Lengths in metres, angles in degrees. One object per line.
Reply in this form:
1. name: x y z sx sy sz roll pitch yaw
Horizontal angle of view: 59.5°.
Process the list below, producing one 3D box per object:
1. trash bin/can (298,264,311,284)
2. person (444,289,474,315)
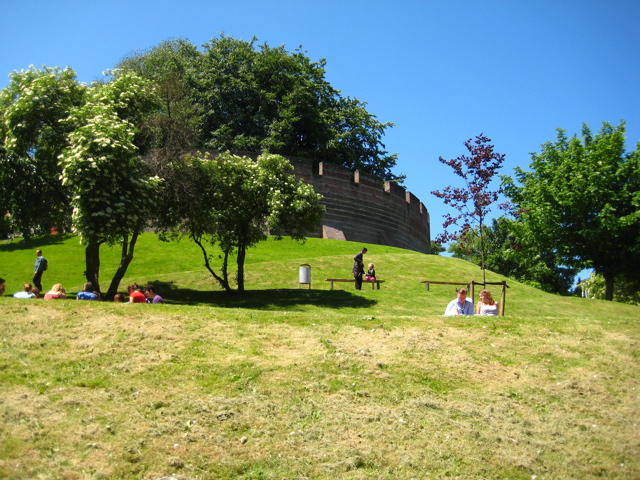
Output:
1. trash bin/can: -0.727 1.685 26.368 0.478 0.956 0.851 1 9 -7
2. person: 4.158 1.825 16.549 0.759 0.830 0.451 4 9 11
